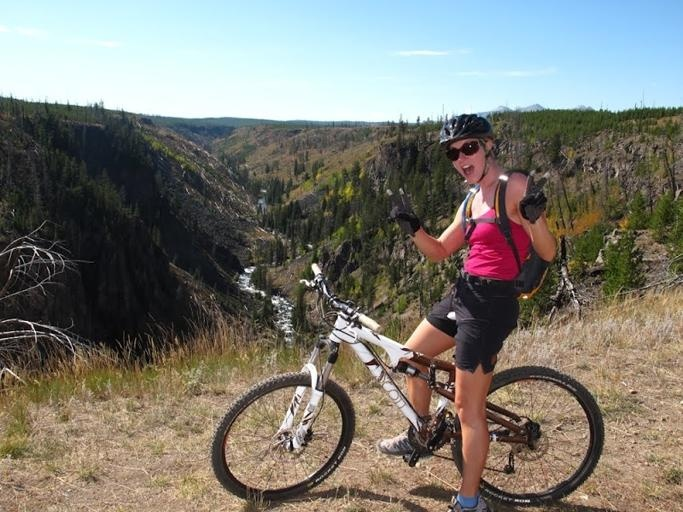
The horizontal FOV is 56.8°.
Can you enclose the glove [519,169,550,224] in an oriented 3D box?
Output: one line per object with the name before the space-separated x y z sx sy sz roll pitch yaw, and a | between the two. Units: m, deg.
glove | 2.333 -0.780 7.827 0.218 0.442 0.645 -30 39 6
